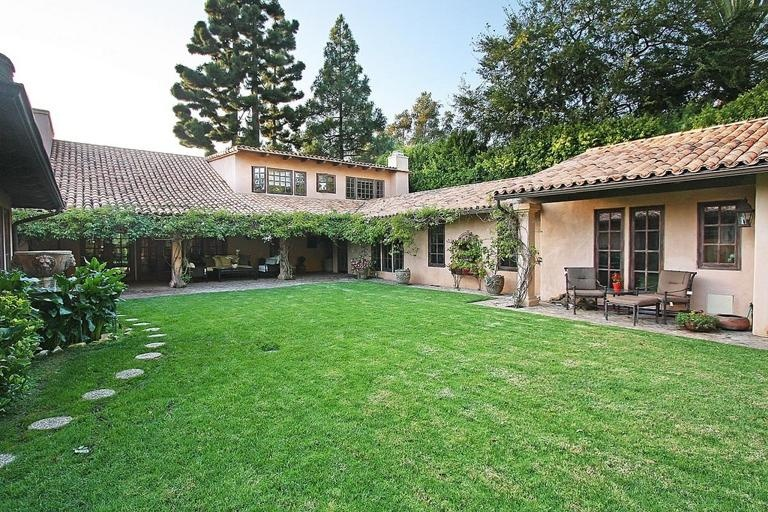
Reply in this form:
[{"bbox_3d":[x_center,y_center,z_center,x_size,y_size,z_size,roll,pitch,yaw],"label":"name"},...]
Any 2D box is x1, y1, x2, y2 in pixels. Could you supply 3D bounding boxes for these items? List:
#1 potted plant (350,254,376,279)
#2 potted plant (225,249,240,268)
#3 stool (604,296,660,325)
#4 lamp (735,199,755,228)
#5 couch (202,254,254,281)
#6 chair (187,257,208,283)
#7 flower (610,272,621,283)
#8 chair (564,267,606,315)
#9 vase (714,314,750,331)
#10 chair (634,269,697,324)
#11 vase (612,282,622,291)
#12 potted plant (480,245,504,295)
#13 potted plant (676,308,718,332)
[{"bbox_3d":[-0.939,0.441,22.294,1.005,1.036,1.027,-2,3,-44],"label":"potted plant"},{"bbox_3d":[-6.752,0.124,22.274,0.543,1.156,0.789,-1,2,8],"label":"potted plant"},{"bbox_3d":[6.210,1.117,12.372,0.805,0.556,1.133,-3,2,-23],"label":"stool"},{"bbox_3d":[8.386,-1.000,11.670,0.325,0.641,0.407,0,0,35],"label":"lamp"},{"bbox_3d":[-6.725,0.474,22.011,2.015,1.101,2.406,0,-1,-15],"label":"couch"},{"bbox_3d":[-7.557,0.271,20.265,0.823,1.074,1.440,-2,5,-17],"label":"chair"},{"bbox_3d":[6.251,0.548,13.556,0.276,0.178,0.268,-14,8,-35],"label":"flower"},{"bbox_3d":[5.366,0.841,13.531,1.014,1.411,1.207,-1,-3,5],"label":"chair"},{"bbox_3d":[8.052,1.533,11.611,0.476,0.191,0.477,-1,1,-16],"label":"vase"},{"bbox_3d":[7.062,0.875,12.693,1.296,1.235,0.950,-5,4,-22],"label":"chair"},{"bbox_3d":[6.151,0.803,13.214,0.241,0.188,0.244,-1,1,10],"label":"vase"},{"bbox_3d":[3.669,0.451,16.877,0.692,1.638,1.572,0,-1,6],"label":"potted plant"},{"bbox_3d":[7.199,1.436,11.633,0.535,0.320,0.567,1,3,23],"label":"potted plant"}]
